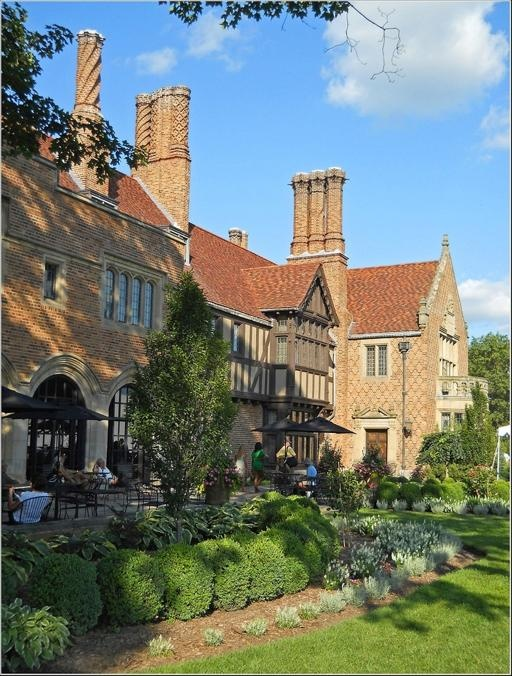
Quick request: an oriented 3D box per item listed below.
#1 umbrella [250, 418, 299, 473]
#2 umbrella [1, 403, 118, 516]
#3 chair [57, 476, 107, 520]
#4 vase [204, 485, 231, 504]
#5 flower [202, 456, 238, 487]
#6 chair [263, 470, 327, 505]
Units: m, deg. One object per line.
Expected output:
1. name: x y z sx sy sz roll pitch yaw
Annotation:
1. umbrella: 0.940 3.343 24.526 1.547 1.381 1.410 1 7 11
2. umbrella: -3.847 2.456 14.498 2.374 1.919 2.308 6 -10 -27
3. chair: -3.405 3.105 14.400 0.710 0.890 0.962 1 -5 23
4. vase: -0.897 3.540 16.866 0.572 0.395 0.556 0 -3 7
5. flower: -0.834 2.970 16.531 0.497 0.652 0.946 7 -2 33
6. chair: 1.099 4.288 20.379 2.103 0.963 1.223 0 -3 0
